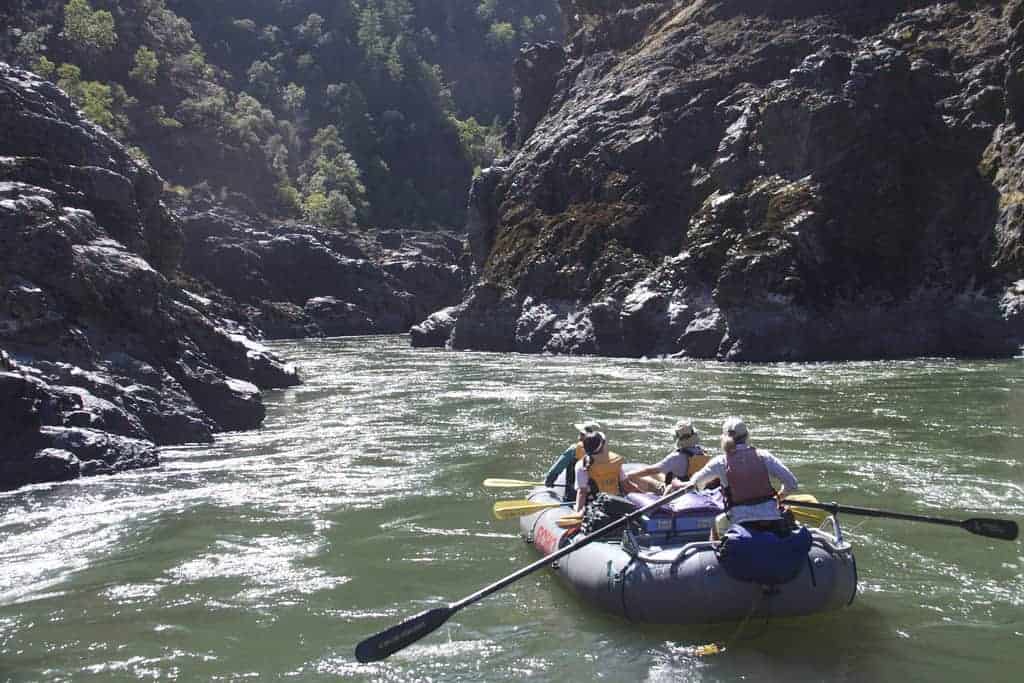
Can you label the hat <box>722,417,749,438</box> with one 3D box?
[{"bbox_3d":[5.041,1.875,22.325,0.446,0.324,0.588,3,20,20],"label":"hat"}]
